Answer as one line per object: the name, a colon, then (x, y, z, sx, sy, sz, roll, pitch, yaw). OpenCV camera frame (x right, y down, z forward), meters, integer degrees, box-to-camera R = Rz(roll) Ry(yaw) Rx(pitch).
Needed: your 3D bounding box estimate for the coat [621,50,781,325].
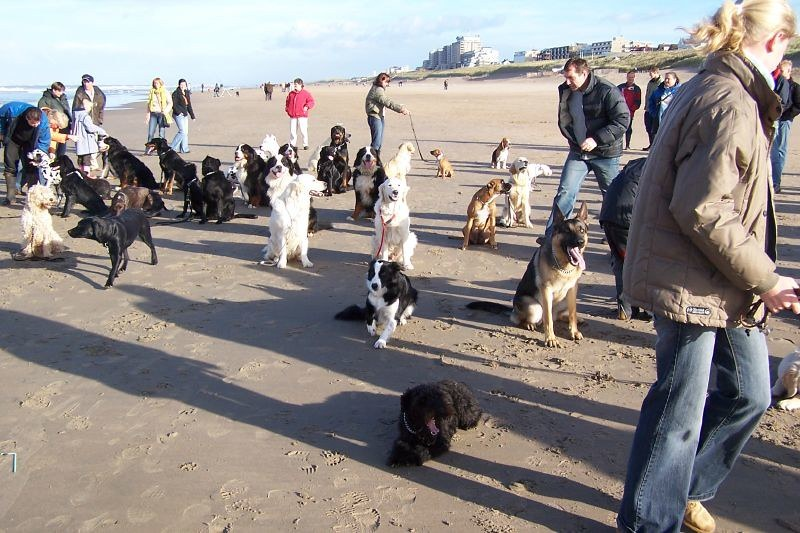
coat: (2.029, -0.502, 3.823, 0.928, 1.765, 0.699, 4, 20, 18)

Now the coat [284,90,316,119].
coat: (-3.267, -5.315, 18.628, 0.774, 0.900, 0.913, -6, 19, -10)

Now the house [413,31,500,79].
house: (23.403, -80.799, 215.958, 22.525, 11.420, 60.151, -1, 18, 3)
